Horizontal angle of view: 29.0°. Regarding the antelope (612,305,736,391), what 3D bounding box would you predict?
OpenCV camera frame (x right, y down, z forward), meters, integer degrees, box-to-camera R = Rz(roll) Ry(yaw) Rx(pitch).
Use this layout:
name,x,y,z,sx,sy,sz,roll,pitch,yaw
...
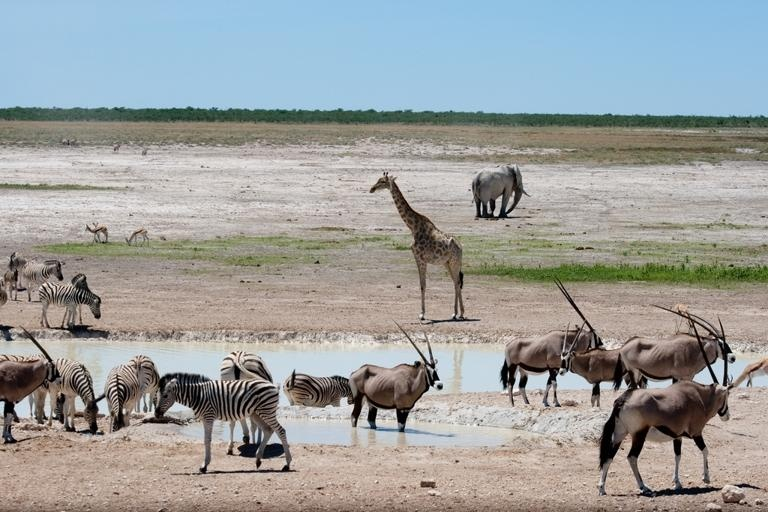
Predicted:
name,x,y,z,sx,sy,sz,roll,pitch,yaw
antelope,6.190,2.046,32.001,3.125,2.947,1.296,0,13,12

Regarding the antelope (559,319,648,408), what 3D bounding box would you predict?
name,x,y,z,sx,sy,sz,roll,pitch,yaw
antelope,4.507,2.387,32.006,2.418,2.082,1.168,2,0,-18

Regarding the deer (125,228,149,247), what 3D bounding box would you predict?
name,x,y,z,sx,sy,sz,roll,pitch,yaw
deer,-7.878,-0.599,47.357,0.713,0.541,1.359,-2,-4,-10

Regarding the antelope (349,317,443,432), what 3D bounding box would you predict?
name,x,y,z,sx,sy,sz,roll,pitch,yaw
antelope,0.175,2.525,31.849,1.574,2.331,2.873,3,-3,-2

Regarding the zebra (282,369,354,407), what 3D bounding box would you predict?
name,x,y,z,sx,sy,sz,roll,pitch,yaw
zebra,-1.450,2.905,31.983,2.187,1.121,0.891,-1,-4,21

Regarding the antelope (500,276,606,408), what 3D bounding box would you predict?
name,x,y,z,sx,sy,sz,roll,pitch,yaw
antelope,3.711,1.885,32.836,2.308,2.796,0.800,-2,0,18
